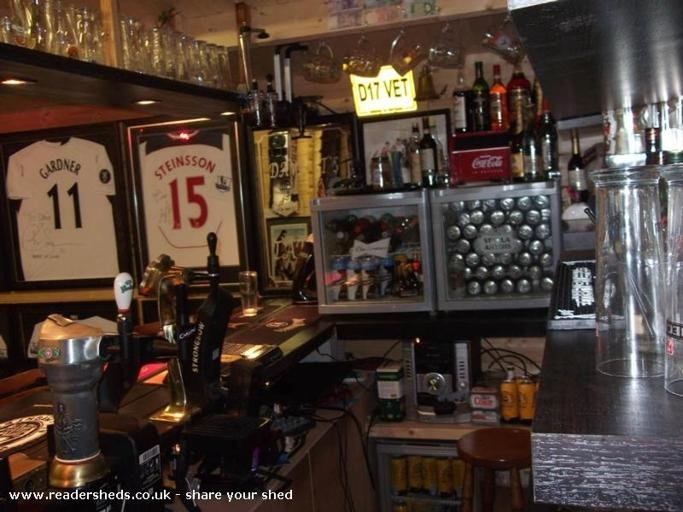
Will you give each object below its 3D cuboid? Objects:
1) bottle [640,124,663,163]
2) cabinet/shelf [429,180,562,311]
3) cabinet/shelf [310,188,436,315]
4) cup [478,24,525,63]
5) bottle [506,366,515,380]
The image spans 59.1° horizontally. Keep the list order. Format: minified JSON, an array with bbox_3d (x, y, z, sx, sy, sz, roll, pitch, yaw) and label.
[{"bbox_3d":[1.077,-0.383,2.089,0.055,0.132,0.127,-2,5,27],"label":"bottle"},{"bbox_3d":[0.796,-0.080,3.649,0.920,0.865,0.662,-1,-1,10],"label":"cabinet/shelf"},{"bbox_3d":[0.128,-0.018,3.789,0.943,0.884,0.668,-2,-1,17],"label":"cabinet/shelf"},{"bbox_3d":[1.002,-1.302,3.749,0.226,0.224,0.247,-4,4,0],"label":"cup"},{"bbox_3d":[0.912,0.632,3.272,0.032,0.069,0.065,-3,5,15],"label":"bottle"}]
